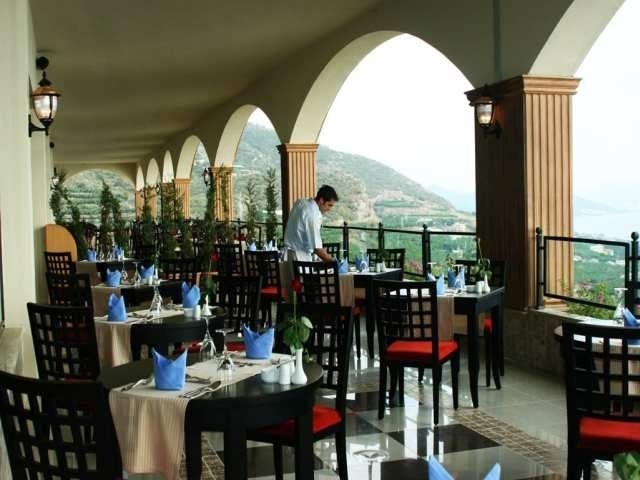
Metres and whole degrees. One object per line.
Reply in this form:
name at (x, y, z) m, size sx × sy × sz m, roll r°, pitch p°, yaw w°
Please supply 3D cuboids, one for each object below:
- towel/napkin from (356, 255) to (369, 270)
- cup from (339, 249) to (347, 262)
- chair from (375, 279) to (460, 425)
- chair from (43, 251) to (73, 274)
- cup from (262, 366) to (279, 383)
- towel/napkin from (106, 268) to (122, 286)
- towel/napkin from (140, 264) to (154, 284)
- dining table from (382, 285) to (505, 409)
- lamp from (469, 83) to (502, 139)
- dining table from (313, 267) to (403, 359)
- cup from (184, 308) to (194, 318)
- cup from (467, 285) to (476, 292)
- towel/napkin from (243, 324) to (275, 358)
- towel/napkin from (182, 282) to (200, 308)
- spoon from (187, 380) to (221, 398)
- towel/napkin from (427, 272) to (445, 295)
towel/napkin at (0.542, 0.285, 6.968) m, size 0.166 × 0.198 × 0.135 m, roll -1°, pitch 4°, yaw 14°
cup at (0.364, 0.246, 8.454) m, size 0.106 × 0.136 × 0.119 m, roll -1°, pitch -6°, yaw 16°
chair at (0.828, 0.917, 4.828) m, size 0.725 × 1.205 × 0.866 m, roll 1°, pitch 3°, yaw 30°
chair at (-3.656, 0.319, 7.626) m, size 0.241 × 0.498 × 0.289 m, roll 3°, pitch 9°, yaw 5°
cup at (-0.272, 0.735, 2.961) m, size 0.055 × 0.050 × 0.103 m, roll -1°, pitch -8°, yaw 7°
towel/napkin at (-2.286, 0.429, 6.133) m, size 0.178 × 0.219 × 0.180 m, roll 7°, pitch 9°, yaw 41°
towel/napkin at (-2.024, 0.409, 6.403) m, size 0.154 × 0.219 × 0.116 m, roll 1°, pitch -6°, yaw 1°
dining table at (1.278, 0.968, 5.361) m, size 0.684 × 1.211 × 0.880 m, roll -1°, pitch -4°, yaw 11°
lamp at (1.971, -1.526, 6.570) m, size 0.305 × 0.632 × 0.451 m, roll 0°, pitch 3°, yaw 1°
dining table at (0.444, 0.744, 6.574) m, size 1.055 × 1.167 × 0.878 m, roll -1°, pitch -4°, yaw 3°
cup at (-1.071, 0.595, 4.466) m, size 0.062 × 0.055 × 0.065 m, roll 0°, pitch 1°, yaw 0°
cup at (1.470, 0.475, 5.323) m, size 0.049 × 0.044 × 0.054 m, roll -2°, pitch 7°, yaw -13°
towel/napkin at (-0.390, 0.631, 3.409) m, size 0.177 × 0.179 × 0.179 m, roll -11°, pitch -13°, yaw 43°
towel/napkin at (-1.101, 0.476, 4.656) m, size 0.206 × 0.277 × 0.169 m, roll 1°, pitch -4°, yaw -14°
spoon at (-0.605, 0.755, 2.840) m, size 0.050 × 0.034 × 0.203 m, roll -4°, pitch 6°, yaw 21°
towel/napkin at (1.097, 0.436, 5.374) m, size 0.140 × 0.290 × 0.263 m, roll 0°, pitch -4°, yaw -11°
